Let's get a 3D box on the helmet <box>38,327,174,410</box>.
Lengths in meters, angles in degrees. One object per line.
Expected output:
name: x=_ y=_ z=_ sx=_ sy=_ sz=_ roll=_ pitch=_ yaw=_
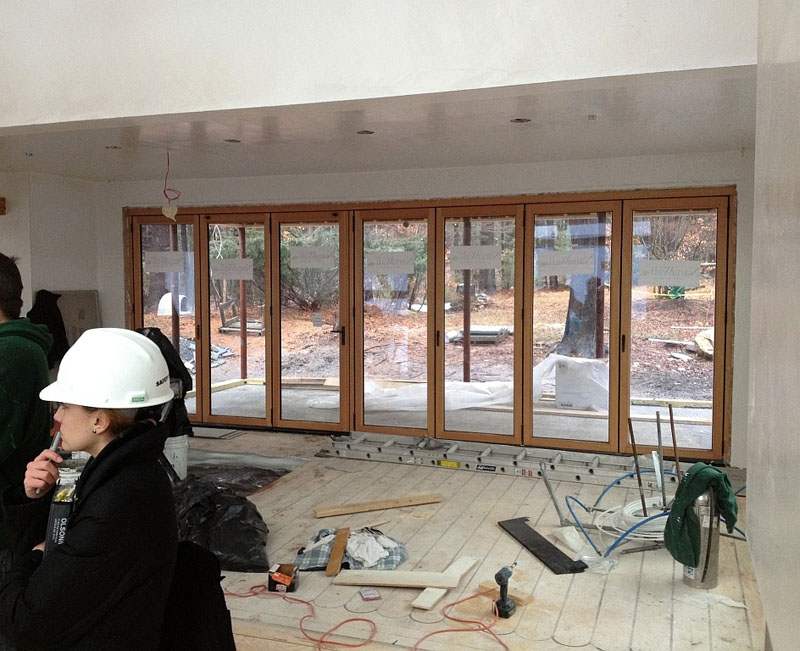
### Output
helmet: x=-0.859 y=0.132 z=2.049 sx=0.341 sy=0.148 sz=0.253 roll=8 pitch=4 yaw=4
